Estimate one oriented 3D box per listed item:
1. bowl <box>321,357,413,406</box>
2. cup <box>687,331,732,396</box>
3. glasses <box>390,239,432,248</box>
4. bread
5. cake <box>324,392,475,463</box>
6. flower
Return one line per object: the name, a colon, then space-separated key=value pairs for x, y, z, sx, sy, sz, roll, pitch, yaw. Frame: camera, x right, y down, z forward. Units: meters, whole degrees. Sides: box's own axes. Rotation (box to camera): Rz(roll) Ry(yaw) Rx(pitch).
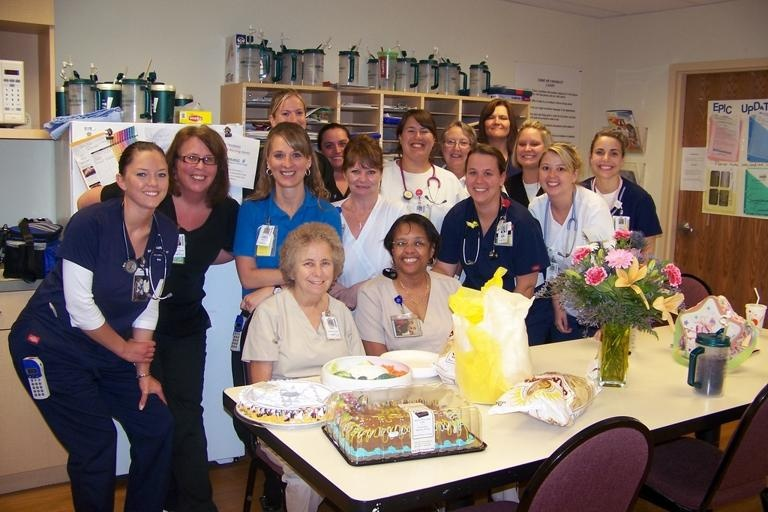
bowl: x=-0.081 y=0.576 z=2.670 sx=0.403 sy=0.141 sz=0.407 roll=1 pitch=5 yaw=0
cup: x=1.497 y=0.509 z=2.732 sx=0.279 sy=0.280 sz=0.164 roll=-10 pitch=19 yaw=-39
glasses: x=0.149 y=-0.068 z=3.234 sx=0.193 sy=0.044 sz=0.070 roll=2 pitch=10 yaw=10
bread: x=0.683 y=0.561 z=2.395 sx=0.212 sy=0.117 sz=0.373 roll=0 pitch=0 yaw=42
cake: x=0.079 y=0.665 z=2.242 sx=0.397 sy=0.110 sz=0.285 roll=-3 pitch=6 yaw=-20
flower: x=1.156 y=0.293 z=2.899 sx=0.623 sy=0.649 sz=0.610 roll=7 pitch=1 yaw=3
